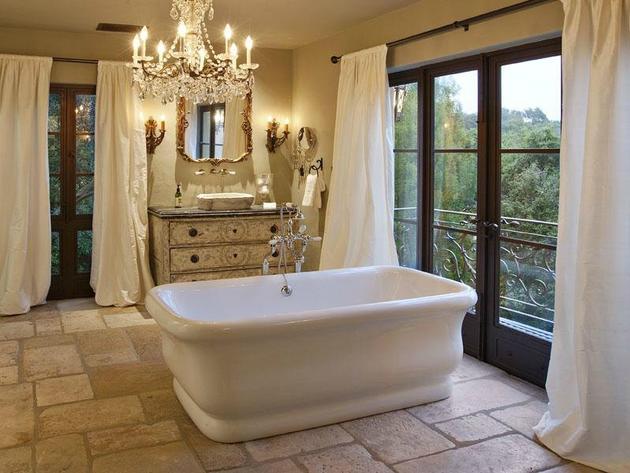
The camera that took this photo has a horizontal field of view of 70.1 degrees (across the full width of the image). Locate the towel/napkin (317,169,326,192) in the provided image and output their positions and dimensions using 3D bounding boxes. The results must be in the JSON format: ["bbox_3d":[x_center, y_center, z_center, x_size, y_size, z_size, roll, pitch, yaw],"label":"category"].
[{"bbox_3d":[0.060,-0.617,4.901,0.115,0.206,0.053,-2,-4,5],"label":"towel/napkin"}]

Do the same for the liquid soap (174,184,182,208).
[{"bbox_3d":[-1.536,-0.455,5.049,0.086,0.240,0.296,-3,11,-17],"label":"liquid soap"}]

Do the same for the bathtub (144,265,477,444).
[{"bbox_3d":[-0.016,0.707,3.059,2.084,0.748,1.018,-4,11,-23],"label":"bathtub"}]

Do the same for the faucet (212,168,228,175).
[{"bbox_3d":[-1.115,-0.762,5.276,0.192,0.072,0.054,-2,11,-14],"label":"faucet"}]
